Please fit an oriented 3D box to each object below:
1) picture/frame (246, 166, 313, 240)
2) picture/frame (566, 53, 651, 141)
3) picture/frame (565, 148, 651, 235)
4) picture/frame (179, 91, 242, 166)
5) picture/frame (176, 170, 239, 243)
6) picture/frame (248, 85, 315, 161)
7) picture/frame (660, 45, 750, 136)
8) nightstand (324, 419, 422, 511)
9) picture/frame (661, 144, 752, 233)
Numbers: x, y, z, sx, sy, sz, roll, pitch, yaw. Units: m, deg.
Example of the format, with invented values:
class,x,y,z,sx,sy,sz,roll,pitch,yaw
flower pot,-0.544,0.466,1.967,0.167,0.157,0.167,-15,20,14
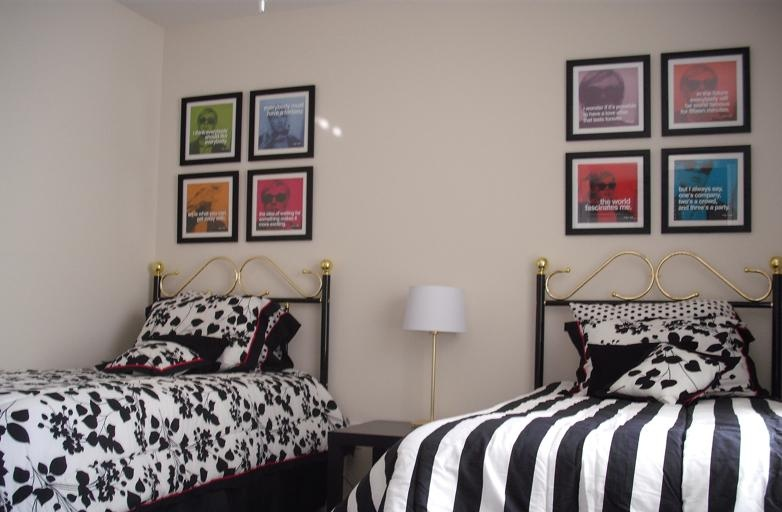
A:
class,x,y,z,sx,sy,sz,roll,pitch,yaw
picture/frame,-0.792,-0.370,4.144,0.503,0.549,0.037,-1,-2,17
picture/frame,1.436,-1.016,3.707,0.546,0.586,0.040,0,-6,9
picture/frame,1.417,-0.396,3.663,0.520,0.564,0.039,0,-3,10
picture/frame,-1.357,-0.958,4.337,0.547,0.595,0.039,0,-2,16
picture/frame,-1.365,-0.359,4.295,0.515,0.588,0.023,0,-2,17
picture/frame,-0.790,-0.963,4.193,0.537,0.572,0.038,0,-1,18
picture/frame,2.001,-1.029,3.585,0.550,0.598,0.040,-1,-6,13
nightstand,-0.132,1.105,3.370,0.500,0.572,0.520,0,1,30
picture/frame,1.982,-0.404,3.542,0.516,0.584,0.038,1,-2,13
